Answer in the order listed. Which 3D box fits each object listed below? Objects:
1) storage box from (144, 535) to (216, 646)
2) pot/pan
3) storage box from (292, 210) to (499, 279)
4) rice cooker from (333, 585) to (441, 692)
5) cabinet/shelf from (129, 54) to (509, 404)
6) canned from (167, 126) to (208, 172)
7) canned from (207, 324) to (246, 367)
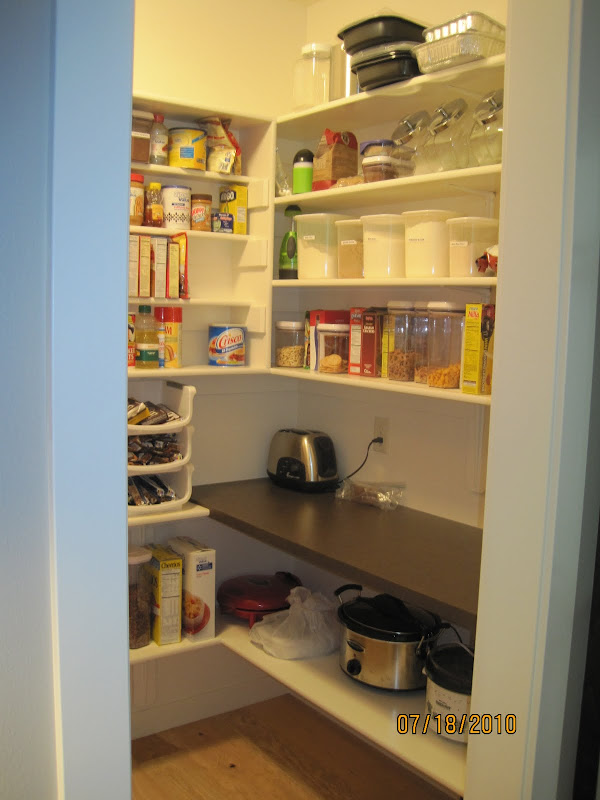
[{"bbox_3d":[-0.403,0.667,2.227,0.179,0.362,0.160,-1,10,-25],"label":"storage box"},{"bbox_3d":[-0.162,0.776,2.497,0.355,0.120,0.318,7,1,-15],"label":"pot/pan"},{"bbox_3d":[0.264,-0.487,1.997,0.186,0.256,0.849,-4,8,-33],"label":"storage box"},{"bbox_3d":[0.262,0.735,1.925,0.310,0.195,0.256,3,7,25],"label":"rice cooker"},{"bbox_3d":[0.042,-0.582,2.109,0.481,1.326,1.459,-2,5,-38],"label":"cabinet/shelf"},{"bbox_3d":[-0.389,-0.868,2.242,0.138,0.143,0.143,6,9,17],"label":"canned"},{"bbox_3d":[-0.284,-0.213,2.446,0.145,0.168,0.151,-1,7,-10],"label":"canned"}]
